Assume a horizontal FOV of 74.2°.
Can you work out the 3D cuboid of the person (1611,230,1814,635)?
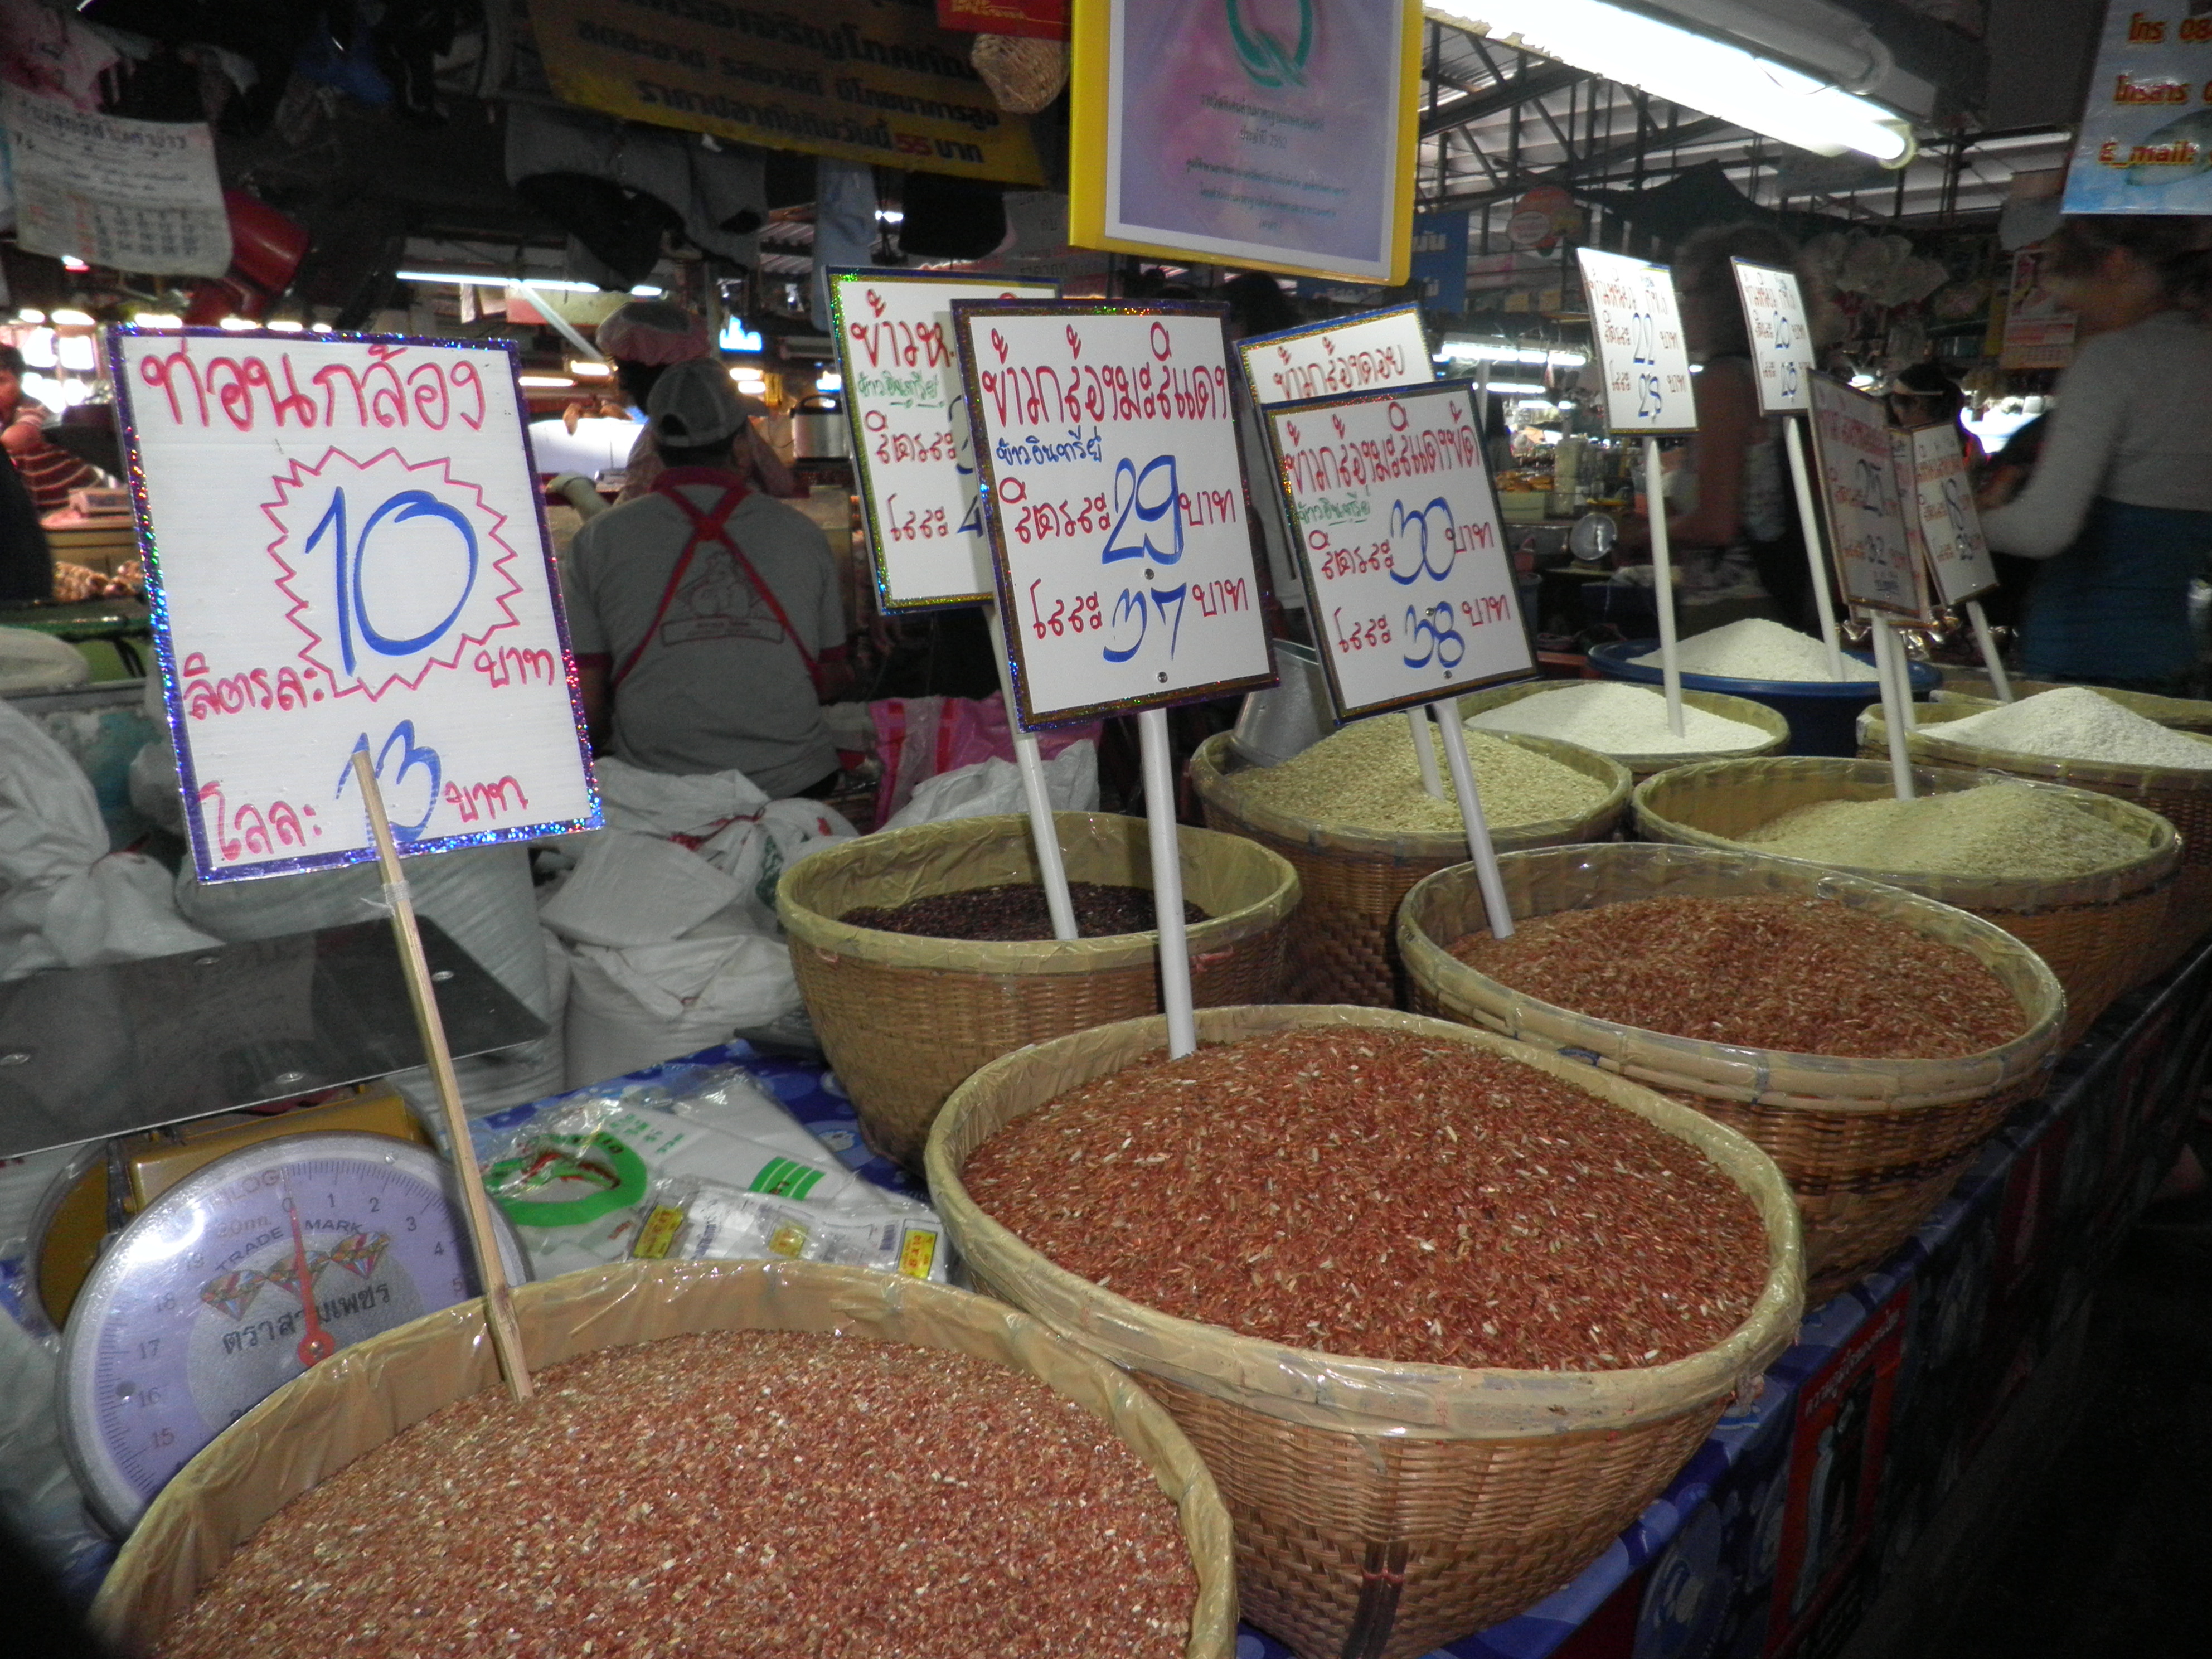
[{"bbox_3d":[1.568,-0.997,3.658,0.315,0.987,0.481,0,18,20],"label":"person"}]
